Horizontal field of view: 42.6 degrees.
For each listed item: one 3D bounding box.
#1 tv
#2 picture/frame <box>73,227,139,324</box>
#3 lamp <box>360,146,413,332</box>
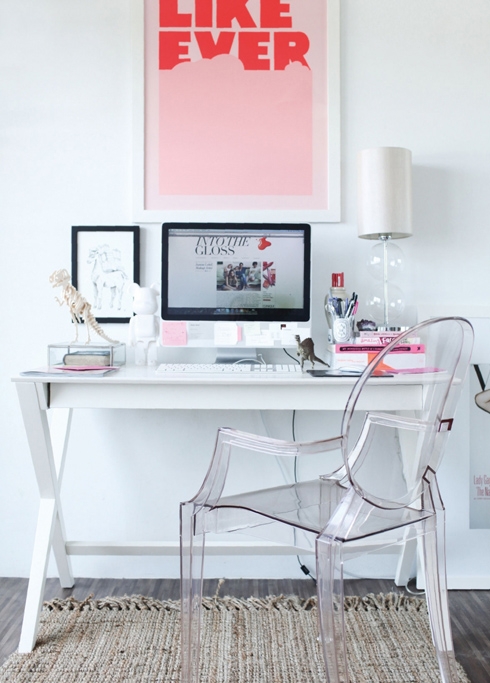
[{"bbox_3d":[-0.031,-0.166,1.961,0.404,0.343,0.113,0,2,2],"label":"tv"},{"bbox_3d":[-0.463,-0.232,2.101,0.293,0.469,0.022,0,4,2],"label":"picture/frame"},{"bbox_3d":[0.451,-0.315,1.989,0.181,0.573,0.370,2,13,15],"label":"lamp"}]
